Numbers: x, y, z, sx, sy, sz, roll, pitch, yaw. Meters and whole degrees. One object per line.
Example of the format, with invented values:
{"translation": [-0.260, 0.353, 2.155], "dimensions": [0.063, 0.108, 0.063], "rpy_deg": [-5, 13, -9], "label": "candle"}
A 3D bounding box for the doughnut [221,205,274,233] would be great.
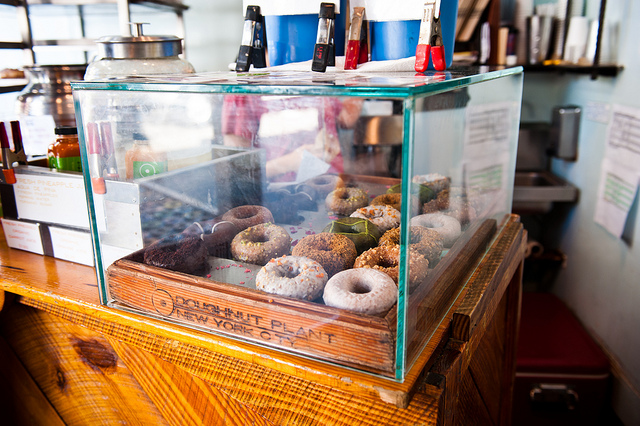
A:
{"translation": [-0.213, 0.008, 1.345], "dimensions": [0.129, 0.080, 0.145], "rpy_deg": [-4, 14, -15], "label": "doughnut"}

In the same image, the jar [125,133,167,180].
{"translation": [-0.490, -0.161, 1.288], "dimensions": [0.105, 0.163, 0.091], "rpy_deg": [-5, 34, -20], "label": "jar"}

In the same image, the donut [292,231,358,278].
{"translation": [0.013, 0.103, 1.229], "dimensions": [0.157, 0.056, 0.157], "rpy_deg": [-28, 36, -34], "label": "donut"}

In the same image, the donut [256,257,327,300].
{"translation": [-0.073, 0.164, 1.166], "dimensions": [0.173, 0.055, 0.171], "rpy_deg": [11, 25, 23], "label": "donut"}

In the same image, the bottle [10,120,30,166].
{"translation": [-1.054, -0.247, 1.593], "dimensions": [0.040, 0.196, 0.047], "rpy_deg": [-4, 1, 23], "label": "bottle"}

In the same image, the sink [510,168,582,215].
{"translation": [1.347, -0.142, 2.835], "dimensions": [0.373, 0.215, 0.489], "rpy_deg": [3, 21, 11], "label": "sink"}

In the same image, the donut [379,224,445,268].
{"translation": [0.235, 0.057, 1.121], "dimensions": [0.124, 0.043, 0.122], "rpy_deg": [-16, 24, -33], "label": "donut"}

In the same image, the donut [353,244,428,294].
{"translation": [0.178, 0.115, 1.107], "dimensions": [0.126, 0.045, 0.124], "rpy_deg": [-10, 17, -27], "label": "donut"}

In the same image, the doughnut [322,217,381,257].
{"translation": [0.114, 0.047, 1.322], "dimensions": [0.178, 0.089, 0.153], "rpy_deg": [12, 21, 35], "label": "doughnut"}

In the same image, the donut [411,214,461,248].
{"translation": [0.308, 0.025, 1.166], "dimensions": [0.115, 0.041, 0.112], "rpy_deg": [7, 24, 23], "label": "donut"}

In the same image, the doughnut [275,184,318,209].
{"translation": [-0.052, -0.054, 1.295], "dimensions": [0.082, 0.030, 0.065], "rpy_deg": [21, 41, 35], "label": "doughnut"}

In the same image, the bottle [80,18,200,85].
{"translation": [-0.658, -0.602, 1.684], "dimensions": [0.415, 0.192, 0.415], "rpy_deg": [1, 24, -1], "label": "bottle"}

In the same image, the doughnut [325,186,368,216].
{"translation": [0.071, -0.034, 1.288], "dimensions": [0.090, 0.032, 0.090], "rpy_deg": [17, 34, 33], "label": "doughnut"}

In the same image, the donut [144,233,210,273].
{"translation": [-0.390, 0.106, 1.234], "dimensions": [0.121, 0.042, 0.118], "rpy_deg": [-11, 20, -29], "label": "donut"}
